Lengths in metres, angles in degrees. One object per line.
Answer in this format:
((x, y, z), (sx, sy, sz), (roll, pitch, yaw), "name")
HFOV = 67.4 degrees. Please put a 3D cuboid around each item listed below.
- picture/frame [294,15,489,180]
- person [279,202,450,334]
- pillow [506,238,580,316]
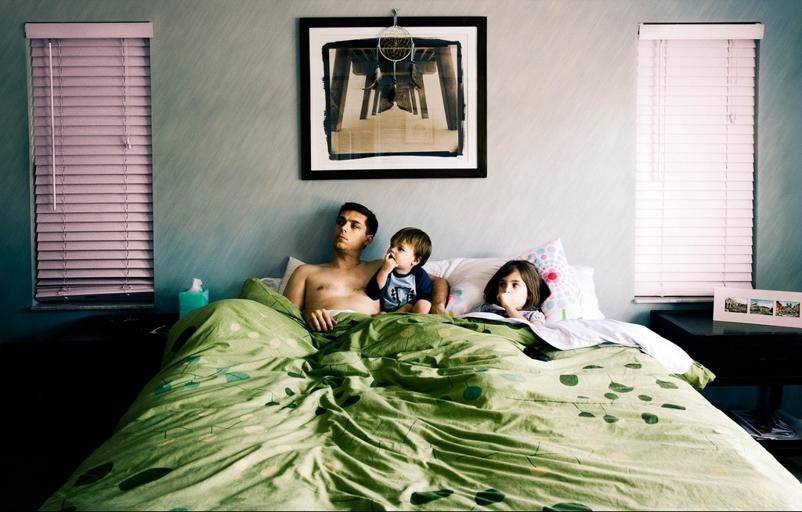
((-0.080, -1.041, 3.758), (1.041, 0.839, 0.042), (0, 0, -2), "picture/frame")
((-0.200, 0.179, 3.824), (1.293, 1.007, 0.682), (1, -27, -5), "person")
((0.864, 0.138, 3.517), (0.469, 0.437, 0.138), (2, -8, -21), "pillow")
